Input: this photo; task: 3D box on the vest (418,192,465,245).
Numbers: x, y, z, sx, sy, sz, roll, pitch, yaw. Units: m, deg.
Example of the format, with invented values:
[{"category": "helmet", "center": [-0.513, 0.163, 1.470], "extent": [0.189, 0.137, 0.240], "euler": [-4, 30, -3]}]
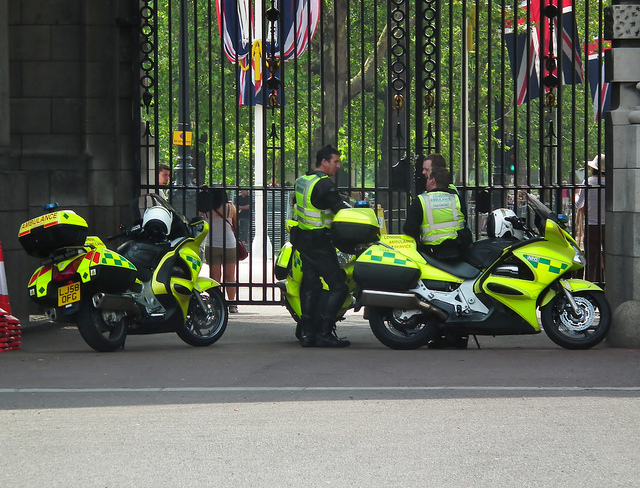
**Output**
[{"category": "vest", "center": [1.328, -0.283, 10.467], "extent": [0.490, 0.583, 0.206], "euler": [1, 6, 11]}]

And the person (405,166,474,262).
[{"category": "person", "center": [1.346, -0.279, 10.671], "extent": [0.706, 1.192, 0.680], "euler": [-7, -6, 39]}]
